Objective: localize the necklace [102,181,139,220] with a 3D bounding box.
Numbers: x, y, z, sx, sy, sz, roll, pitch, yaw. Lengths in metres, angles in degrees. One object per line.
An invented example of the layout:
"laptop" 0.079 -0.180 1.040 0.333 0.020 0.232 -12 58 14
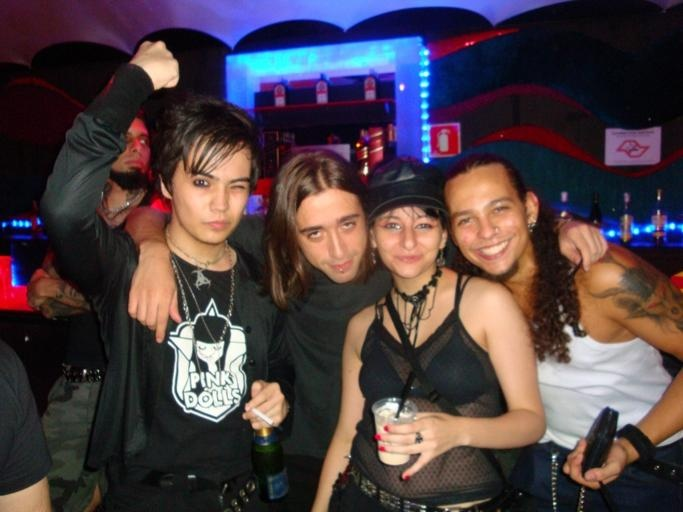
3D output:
"necklace" -1.778 -0.453 4.509 0.304 0.264 0.230 3 14 -4

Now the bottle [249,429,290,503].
"bottle" -0.430 1.253 3.369 0.196 0.474 0.128 -1 3 -1

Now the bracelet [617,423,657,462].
"bracelet" 1.692 1.053 3.164 0.225 0.119 0.174 41 30 7

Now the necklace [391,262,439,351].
"necklace" 0.451 0.295 3.302 0.266 0.443 0.085 -9 -31 20

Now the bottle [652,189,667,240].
"bottle" 3.461 -0.455 6.062 0.162 0.622 0.162 -5 3 0

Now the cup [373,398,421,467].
"cup" 0.243 0.966 3.119 0.331 0.344 0.333 0 -1 0

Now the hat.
"hat" 0.422 -0.466 3.581 0.521 0.346 0.692 -4 8 8

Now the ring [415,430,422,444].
"ring" 0.408 0.949 2.915 0.040 0.052 0.019 -3 10 -4
